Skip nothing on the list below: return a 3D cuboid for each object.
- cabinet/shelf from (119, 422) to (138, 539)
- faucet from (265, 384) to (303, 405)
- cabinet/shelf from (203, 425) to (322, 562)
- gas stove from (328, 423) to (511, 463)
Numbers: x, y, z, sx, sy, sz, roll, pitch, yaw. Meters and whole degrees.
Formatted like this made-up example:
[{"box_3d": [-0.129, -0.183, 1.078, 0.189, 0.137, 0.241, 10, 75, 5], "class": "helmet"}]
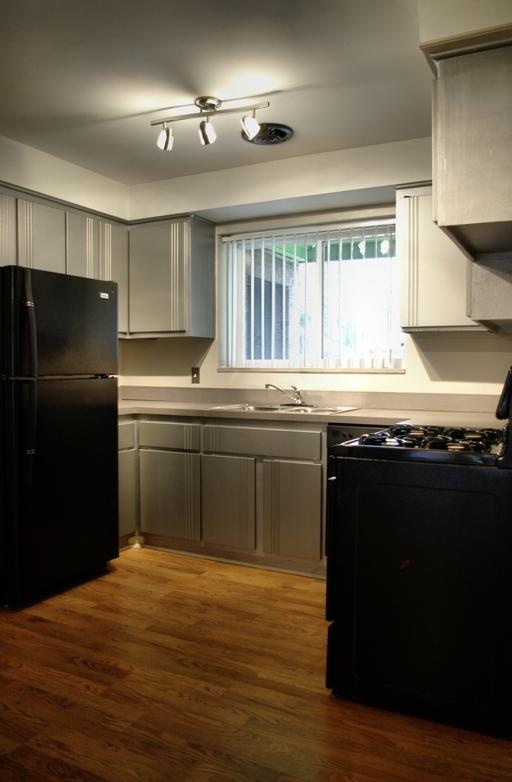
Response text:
[{"box_3d": [-0.772, 0.547, 3.551, 0.074, 0.754, 0.215, 0, -1, 1], "class": "cabinet/shelf"}, {"box_3d": [0.172, 0.021, 3.716, 0.289, 0.177, 0.099, 1, -1, 15], "class": "faucet"}, {"box_3d": [0.061, 0.546, 3.169, 0.678, 0.730, 0.365, -1, -2, 31], "class": "cabinet/shelf"}, {"box_3d": [0.580, 0.151, 1.888, 0.545, 0.104, 0.558, -1, -1, 35], "class": "gas stove"}]
